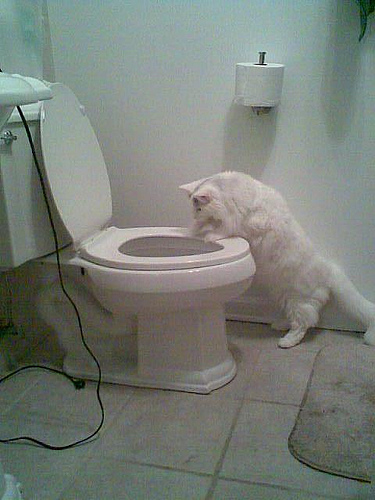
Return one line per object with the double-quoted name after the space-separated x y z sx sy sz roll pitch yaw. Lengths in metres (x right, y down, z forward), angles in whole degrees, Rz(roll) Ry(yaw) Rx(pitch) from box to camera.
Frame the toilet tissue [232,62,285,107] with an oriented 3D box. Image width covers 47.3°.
0.227 -0.529 1.345 0.150 0.118 0.146 24 38 32 "toilet tissue"
